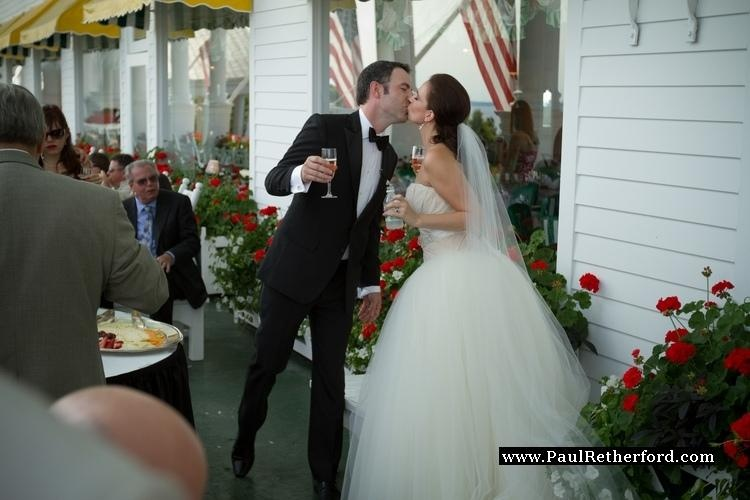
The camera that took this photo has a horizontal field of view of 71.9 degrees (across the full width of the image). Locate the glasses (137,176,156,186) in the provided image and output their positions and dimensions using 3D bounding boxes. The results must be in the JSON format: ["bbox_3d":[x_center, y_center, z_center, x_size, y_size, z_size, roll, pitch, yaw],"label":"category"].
[{"bbox_3d":[-2.135,-0.664,4.873,0.078,0.045,0.109,-10,1,5],"label":"glasses"}]

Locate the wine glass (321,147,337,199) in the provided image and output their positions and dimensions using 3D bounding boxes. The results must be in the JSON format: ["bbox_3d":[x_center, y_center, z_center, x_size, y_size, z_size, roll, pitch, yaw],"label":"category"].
[{"bbox_3d":[-0.259,-0.437,2.903,0.089,0.296,0.305,3,10,-5],"label":"wine glass"}]

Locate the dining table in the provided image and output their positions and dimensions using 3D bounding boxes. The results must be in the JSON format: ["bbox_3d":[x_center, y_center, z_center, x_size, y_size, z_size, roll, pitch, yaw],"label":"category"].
[{"bbox_3d":[-1.143,0.610,2.723,0.492,0.553,0.541,-6,20,-15],"label":"dining table"}]
